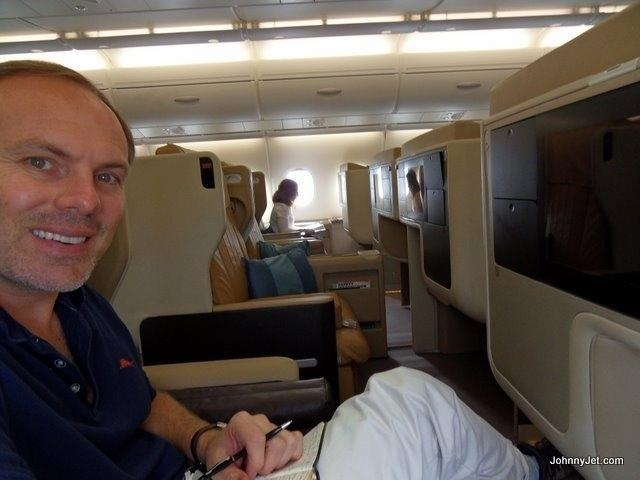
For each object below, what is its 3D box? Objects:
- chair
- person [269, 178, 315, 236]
[{"bbox_3d":[-0.230,0.216,3.626,1.622,2.180,1.516,-2,4,-7],"label":"chair"},{"bbox_3d":[-0.323,-0.430,6.786,0.700,1.099,0.867,-2,7,-18],"label":"person"}]
